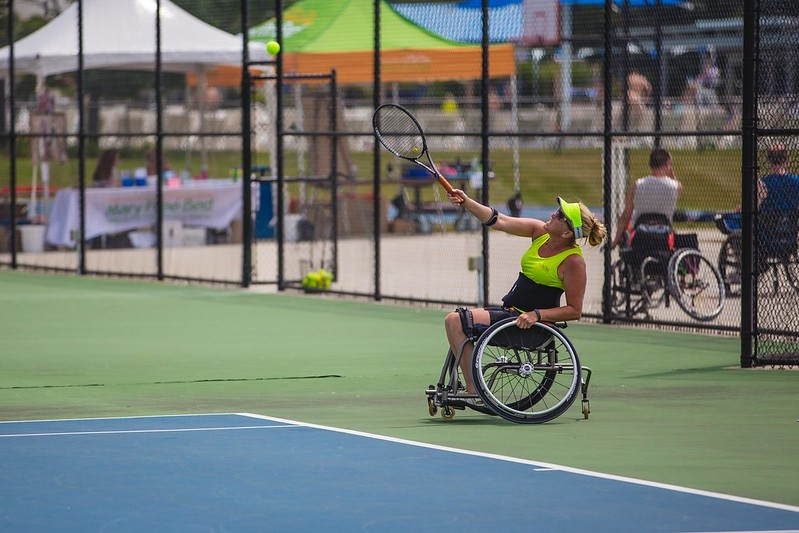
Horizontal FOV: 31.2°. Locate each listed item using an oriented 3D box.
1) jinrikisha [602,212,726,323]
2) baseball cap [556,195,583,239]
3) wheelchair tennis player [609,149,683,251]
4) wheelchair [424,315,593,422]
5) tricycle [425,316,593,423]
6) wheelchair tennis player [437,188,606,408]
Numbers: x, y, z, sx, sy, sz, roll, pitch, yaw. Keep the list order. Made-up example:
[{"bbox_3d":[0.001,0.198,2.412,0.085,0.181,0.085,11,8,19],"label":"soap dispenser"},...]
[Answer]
[{"bbox_3d":[3.628,0.056,19.493,2.230,1.834,1.061,1,-1,-15],"label":"jinrikisha"},{"bbox_3d":[1.791,-0.580,14.732,0.130,0.334,0.440,-20,-46,21],"label":"baseball cap"},{"bbox_3d":[3.429,-0.989,19.593,0.723,1.503,0.849,0,-5,-31],"label":"wheelchair tennis player"},{"bbox_3d":[1.129,1.092,15.357,1.647,1.632,0.981,2,-5,-7],"label":"wheelchair"},{"bbox_3d":[1.132,1.091,15.365,1.646,1.671,0.983,2,-5,-7],"label":"tricycle"},{"bbox_3d":[1.320,0.195,15.028,1.237,2.468,2.698,2,-2,-32],"label":"wheelchair tennis player"}]
